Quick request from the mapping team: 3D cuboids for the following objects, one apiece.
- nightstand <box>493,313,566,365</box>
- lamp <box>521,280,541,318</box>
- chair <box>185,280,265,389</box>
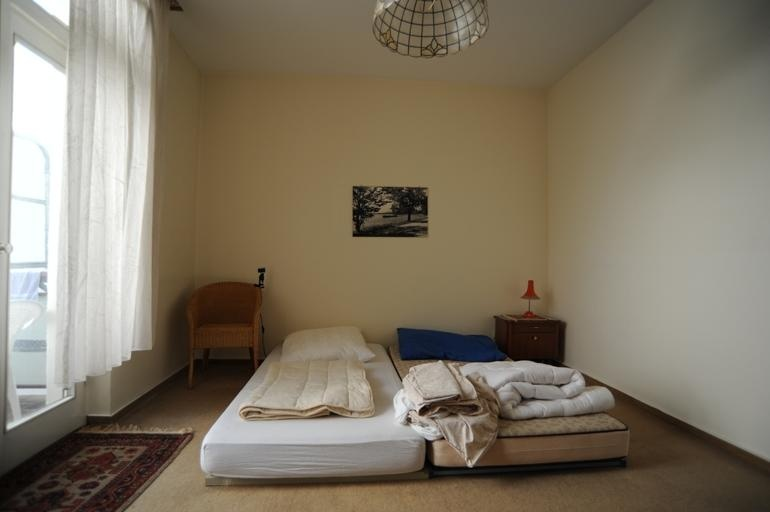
[{"bbox_3d":[1.565,0.811,6.006,0.642,0.611,0.537,-1,-1,-8],"label":"nightstand"},{"bbox_3d":[1.621,0.467,6.093,0.189,0.399,0.431,-1,2,16],"label":"lamp"},{"bbox_3d":[-1.672,0.814,5.714,0.945,1.306,0.926,0,-7,-12],"label":"chair"}]
